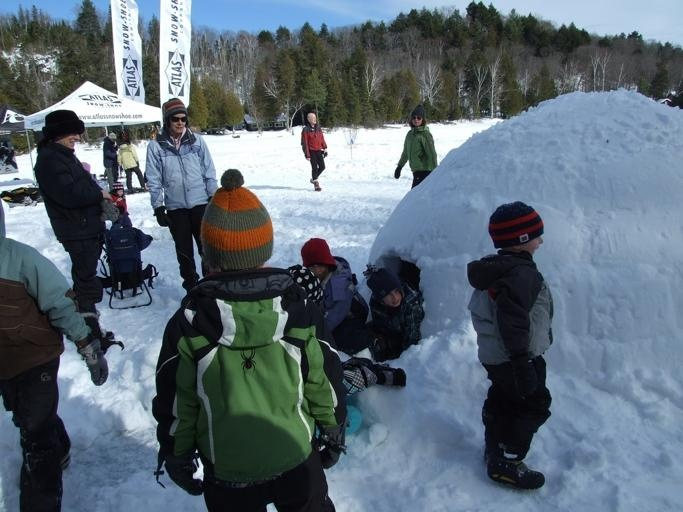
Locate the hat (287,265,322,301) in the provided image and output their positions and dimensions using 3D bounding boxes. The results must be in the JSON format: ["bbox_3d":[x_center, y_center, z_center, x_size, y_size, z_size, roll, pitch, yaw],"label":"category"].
[{"bbox_3d":[-0.250,0.190,4.452,0.195,0.282,0.273,-24,5,17],"label":"hat"}]

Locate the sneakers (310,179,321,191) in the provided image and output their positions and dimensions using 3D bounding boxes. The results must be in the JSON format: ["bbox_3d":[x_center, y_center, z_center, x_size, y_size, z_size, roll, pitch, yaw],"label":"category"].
[{"bbox_3d":[-0.519,-1.493,11.976,0.126,0.178,0.394,-16,25,-12],"label":"sneakers"}]

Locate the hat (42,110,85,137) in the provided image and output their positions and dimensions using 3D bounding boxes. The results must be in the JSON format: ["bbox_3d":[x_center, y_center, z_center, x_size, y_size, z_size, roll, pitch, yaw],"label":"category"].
[{"bbox_3d":[-2.372,-1.089,4.992,0.250,0.215,0.226,2,33,47],"label":"hat"}]

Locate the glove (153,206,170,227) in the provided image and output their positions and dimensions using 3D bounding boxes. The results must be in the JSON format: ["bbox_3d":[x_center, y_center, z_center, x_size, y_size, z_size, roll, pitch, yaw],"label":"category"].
[{"bbox_3d":[-1.764,-0.385,5.748,0.132,0.197,0.071,-21,6,-22],"label":"glove"}]

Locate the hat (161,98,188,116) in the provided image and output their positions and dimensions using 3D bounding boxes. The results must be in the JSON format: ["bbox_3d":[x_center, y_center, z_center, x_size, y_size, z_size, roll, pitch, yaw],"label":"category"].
[{"bbox_3d":[-1.624,-1.430,5.680,0.170,0.208,0.249,-6,15,-9],"label":"hat"}]

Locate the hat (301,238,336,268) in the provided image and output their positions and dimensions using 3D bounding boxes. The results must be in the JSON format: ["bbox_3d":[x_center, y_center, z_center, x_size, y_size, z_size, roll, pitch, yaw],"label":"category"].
[{"bbox_3d":[-0.221,-0.011,4.764,0.249,0.230,0.197,-21,6,-31],"label":"hat"}]

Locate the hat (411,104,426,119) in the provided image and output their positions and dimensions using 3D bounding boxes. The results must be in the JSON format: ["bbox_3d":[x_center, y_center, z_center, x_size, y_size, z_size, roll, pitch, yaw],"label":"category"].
[{"bbox_3d":[1.061,-1.990,8.068,0.154,0.208,0.226,3,6,6],"label":"hat"}]

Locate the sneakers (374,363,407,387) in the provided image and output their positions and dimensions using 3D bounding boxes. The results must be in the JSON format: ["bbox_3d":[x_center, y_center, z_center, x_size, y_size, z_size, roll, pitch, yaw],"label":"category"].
[{"bbox_3d":[0.378,0.902,4.474,0.175,0.086,0.169,7,27,-2],"label":"sneakers"}]

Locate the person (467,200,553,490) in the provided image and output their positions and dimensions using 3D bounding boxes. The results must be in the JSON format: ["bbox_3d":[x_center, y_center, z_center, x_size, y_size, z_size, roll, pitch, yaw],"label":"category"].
[{"bbox_3d":[1.111,0.579,3.882,0.581,1.811,0.458,4,12,14],"label":"person"}]

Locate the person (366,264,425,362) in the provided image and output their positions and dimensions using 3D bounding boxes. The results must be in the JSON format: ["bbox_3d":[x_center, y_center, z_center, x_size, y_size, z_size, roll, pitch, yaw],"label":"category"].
[{"bbox_3d":[0.484,0.482,5.180,0.527,0.805,0.313,-10,-7,20],"label":"person"}]

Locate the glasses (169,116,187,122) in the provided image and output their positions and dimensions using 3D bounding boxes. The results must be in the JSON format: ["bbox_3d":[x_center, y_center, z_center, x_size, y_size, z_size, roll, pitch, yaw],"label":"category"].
[{"bbox_3d":[-1.565,-1.334,5.660,0.107,0.060,0.172,15,19,43],"label":"glasses"}]

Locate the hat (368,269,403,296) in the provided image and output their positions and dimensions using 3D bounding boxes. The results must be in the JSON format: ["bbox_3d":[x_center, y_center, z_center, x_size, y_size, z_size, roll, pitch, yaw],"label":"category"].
[{"bbox_3d":[0.363,0.237,5.156,0.190,0.214,0.260,-40,11,-27],"label":"hat"}]

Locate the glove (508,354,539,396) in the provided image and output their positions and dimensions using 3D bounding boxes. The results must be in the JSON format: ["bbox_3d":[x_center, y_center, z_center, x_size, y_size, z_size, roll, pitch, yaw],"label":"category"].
[{"bbox_3d":[1.162,0.752,3.711,0.163,0.249,0.079,-10,16,14],"label":"glove"}]

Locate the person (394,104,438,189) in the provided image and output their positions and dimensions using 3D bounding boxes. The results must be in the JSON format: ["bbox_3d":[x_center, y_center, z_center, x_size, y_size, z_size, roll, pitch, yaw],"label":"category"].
[{"bbox_3d":[1.110,-1.526,8.249,0.434,1.167,0.877,-3,13,-19],"label":"person"}]

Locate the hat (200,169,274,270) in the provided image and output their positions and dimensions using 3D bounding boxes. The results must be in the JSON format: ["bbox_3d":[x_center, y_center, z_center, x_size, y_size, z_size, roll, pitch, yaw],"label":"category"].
[{"bbox_3d":[-0.540,-0.237,3.283,0.368,0.529,0.528,0,22,8],"label":"hat"}]
